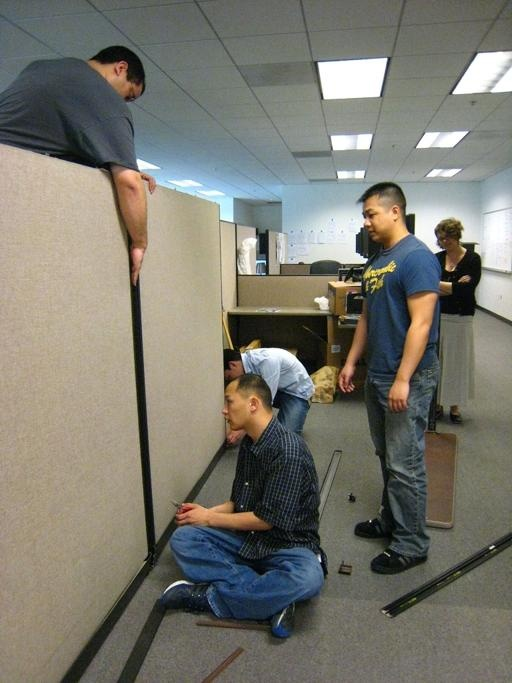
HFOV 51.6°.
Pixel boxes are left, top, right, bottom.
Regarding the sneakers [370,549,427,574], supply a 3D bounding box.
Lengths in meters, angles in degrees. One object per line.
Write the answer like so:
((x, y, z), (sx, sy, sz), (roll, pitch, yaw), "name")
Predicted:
((0.511, 0.807, 1.935), (0.206, 0.082, 0.076), (0, 4, -8), "sneakers")

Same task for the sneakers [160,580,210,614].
((-0.223, 0.815, 1.720), (0.200, 0.067, 0.084), (-3, 12, -6), "sneakers")

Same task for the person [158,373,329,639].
((0.038, 0.466, 2.051), (0.686, 0.882, 0.751), (-1, 2, -20), "person")

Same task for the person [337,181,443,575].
((0.532, 0.115, 2.041), (0.365, 1.421, 0.500), (0, 9, 4), "person")

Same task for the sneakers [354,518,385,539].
((0.469, 0.775, 2.214), (0.132, 0.060, 0.061), (5, 4, 3), "sneakers")

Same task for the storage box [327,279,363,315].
((0.750, -0.374, 4.433), (0.284, 0.209, 0.280), (0, 7, 4), "storage box")
